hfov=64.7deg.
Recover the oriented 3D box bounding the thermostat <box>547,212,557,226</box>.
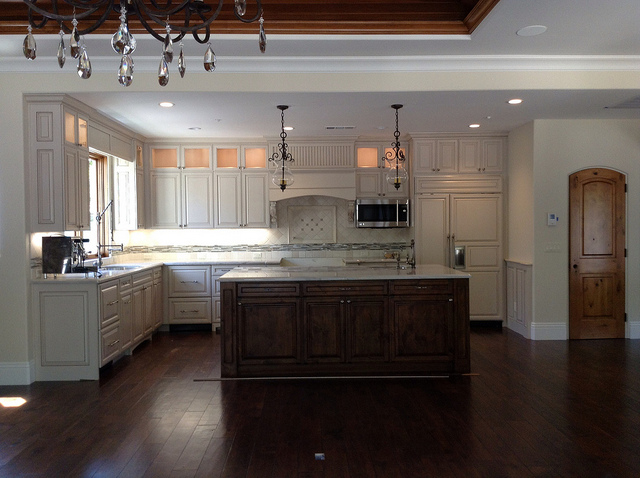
[{"bbox_3d":[3.214,-0.263,6.982,0.155,0.233,0.035,0,-3,0],"label":"thermostat"}]

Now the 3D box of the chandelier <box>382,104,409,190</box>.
[{"bbox_3d":[0.934,-1.117,6.152,0.403,0.993,0.247,9,18,39],"label":"chandelier"}]

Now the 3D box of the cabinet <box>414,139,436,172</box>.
[{"bbox_3d":[1.626,-1.254,7.937,0.432,0.562,0.417,-1,-1,18],"label":"cabinet"}]

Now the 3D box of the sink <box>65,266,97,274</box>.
[{"bbox_3d":[-2.758,0.362,5.783,0.368,0.081,0.156,-2,4,3],"label":"sink"}]

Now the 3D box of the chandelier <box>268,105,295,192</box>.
[{"bbox_3d":[-0.470,-1.035,6.115,0.276,1.075,0.274,1,2,3],"label":"chandelier"}]

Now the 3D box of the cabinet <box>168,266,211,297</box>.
[{"bbox_3d":[-2.021,0.589,7.907,0.780,0.581,0.528,-1,18,-13],"label":"cabinet"}]

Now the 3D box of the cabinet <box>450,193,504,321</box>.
[{"bbox_3d":[2.430,0.194,7.909,0.806,2.191,0.577,0,2,-3],"label":"cabinet"}]

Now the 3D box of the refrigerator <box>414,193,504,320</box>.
[{"bbox_3d":[2.204,0.140,7.779,1.232,2.046,0.609,1,1,-4],"label":"refrigerator"}]

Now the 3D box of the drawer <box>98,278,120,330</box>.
[{"bbox_3d":[-2.436,0.737,5.853,0.340,0.531,0.534,-1,-1,-4],"label":"drawer"}]

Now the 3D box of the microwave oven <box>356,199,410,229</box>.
[{"bbox_3d":[0.983,-0.411,7.983,0.782,0.438,0.176,-2,4,-3],"label":"microwave oven"}]

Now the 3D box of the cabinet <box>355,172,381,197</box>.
[{"bbox_3d":[0.735,-0.844,8.279,0.499,0.537,0.337,0,-2,2],"label":"cabinet"}]

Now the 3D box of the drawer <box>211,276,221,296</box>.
[{"bbox_3d":[-1.597,0.724,7.666,0.111,0.299,0.142,-3,4,-22],"label":"drawer"}]

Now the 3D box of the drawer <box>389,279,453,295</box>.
[{"bbox_3d":[1.119,0.528,5.583,0.709,0.167,0.027,-2,4,-1],"label":"drawer"}]

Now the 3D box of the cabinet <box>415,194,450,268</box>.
[{"bbox_3d":[1.747,-0.137,7.936,0.537,1.232,0.380,0,2,0],"label":"cabinet"}]

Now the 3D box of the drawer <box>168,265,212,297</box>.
[{"bbox_3d":[-2.004,0.595,7.903,0.756,0.573,0.506,1,17,-2],"label":"drawer"}]

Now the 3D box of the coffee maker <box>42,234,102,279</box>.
[{"bbox_3d":[-2.890,0.192,5.850,0.488,0.463,0.496,0,-2,-13],"label":"coffee maker"}]
